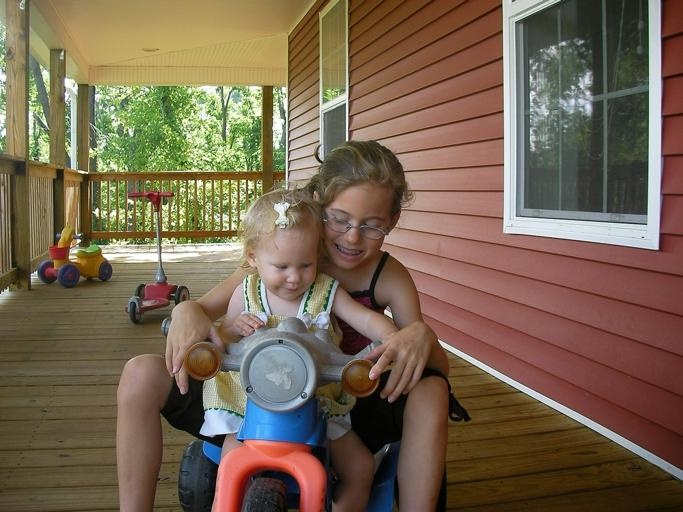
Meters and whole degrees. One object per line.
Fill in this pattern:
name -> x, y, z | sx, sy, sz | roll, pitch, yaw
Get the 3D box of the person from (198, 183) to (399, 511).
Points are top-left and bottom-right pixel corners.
person -> -0.128, 0.211, 1.721 | 0.716, 1.088, 0.839 | -1, 12, 1

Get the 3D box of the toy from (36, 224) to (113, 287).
toy -> -2.948, 0.002, 5.849 | 0.487, 0.626, 0.693 | 5, 10, 29
